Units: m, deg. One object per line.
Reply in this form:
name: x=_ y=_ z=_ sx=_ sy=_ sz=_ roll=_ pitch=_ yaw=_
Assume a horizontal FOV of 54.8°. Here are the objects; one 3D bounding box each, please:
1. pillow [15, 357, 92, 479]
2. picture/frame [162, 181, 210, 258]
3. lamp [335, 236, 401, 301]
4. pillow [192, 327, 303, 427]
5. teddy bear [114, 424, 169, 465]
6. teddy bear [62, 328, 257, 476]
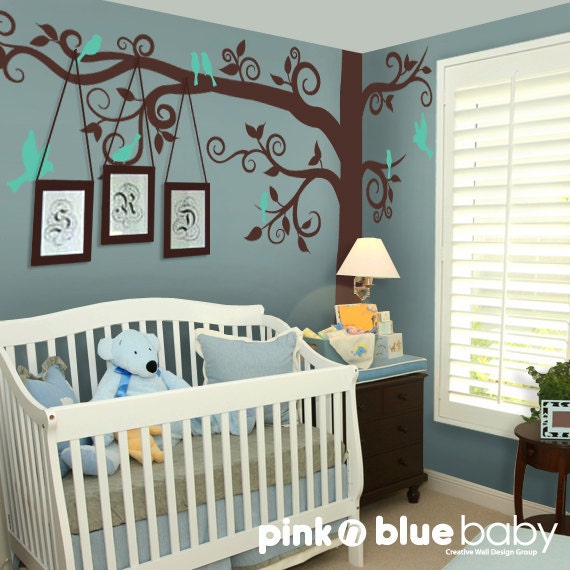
pillow: x=-0.865 y=0.430 z=1.959 sx=0.124 sy=0.409 sz=0.255 roll=-26 pitch=-18 yaw=20
picture/frame: x=-0.477 y=-0.319 z=2.584 sx=0.331 sy=0.484 sz=0.017 roll=-4 pitch=8 yaw=-43
lamp: x=0.480 y=-0.102 z=3.011 sx=0.308 sy=0.502 sz=0.348 roll=1 pitch=4 yaw=30
pillow: x=-0.144 y=0.360 z=2.124 sx=0.363 sy=0.390 sz=0.143 roll=-2 pitch=-26 yaw=-10
teddy bear: x=-0.488 y=0.545 z=1.969 sx=0.164 sy=0.180 sz=0.073 roll=4 pitch=29 yaw=29
teddy bear: x=-0.561 y=0.396 z=2.078 sx=0.557 sy=0.450 sz=0.298 roll=-9 pitch=7 yaw=-39
